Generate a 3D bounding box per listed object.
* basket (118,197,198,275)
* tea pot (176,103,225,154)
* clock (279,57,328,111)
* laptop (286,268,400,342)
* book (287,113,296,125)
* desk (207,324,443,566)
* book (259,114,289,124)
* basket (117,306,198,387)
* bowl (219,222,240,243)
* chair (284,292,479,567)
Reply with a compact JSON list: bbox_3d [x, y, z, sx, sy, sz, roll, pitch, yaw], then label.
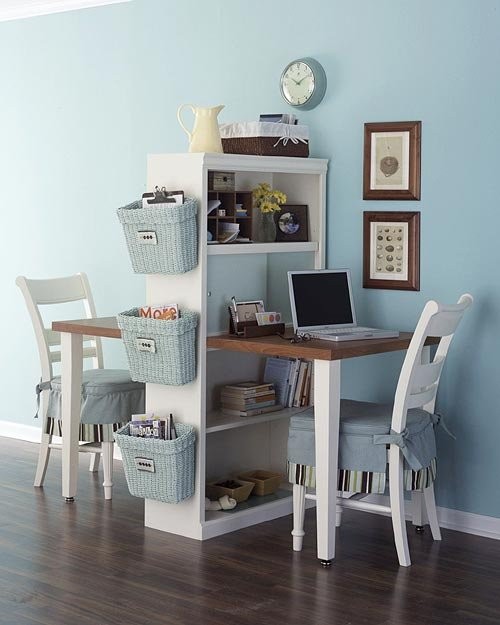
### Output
[{"bbox_3d":[-0.337,-0.281,2.207,0.340,0.268,0.132,5,12,41],"label":"basket"},{"bbox_3d":[-0.195,-0.715,2.332,0.143,0.187,0.178,-1,9,11],"label":"tea pot"},{"bbox_3d":[0.250,-1.049,2.722,0.083,0.272,0.277,-4,6,-43],"label":"clock"},{"bbox_3d":[0.355,-0.028,2.327,0.306,0.275,0.367,0,3,43],"label":"laptop"},{"bbox_3d":[0.181,-0.866,2.661,0.044,0.056,0.074,3,33,1],"label":"book"},{"bbox_3d":[0.329,0.447,2.332,0.778,0.738,0.780,-4,5,-44],"label":"desk"},{"bbox_3d":[0.102,-0.846,2.600,0.113,0.026,0.110,3,9,20],"label":"book"},{"bbox_3d":[-0.354,0.137,2.259,0.359,0.285,0.142,5,12,39],"label":"basket"},{"bbox_3d":[-0.088,-0.330,2.460,0.087,0.078,0.224,-3,9,-1],"label":"bowl"},{"bbox_3d":[0.450,0.375,2.577,0.931,1.322,0.727,2,3,28],"label":"chair"}]
